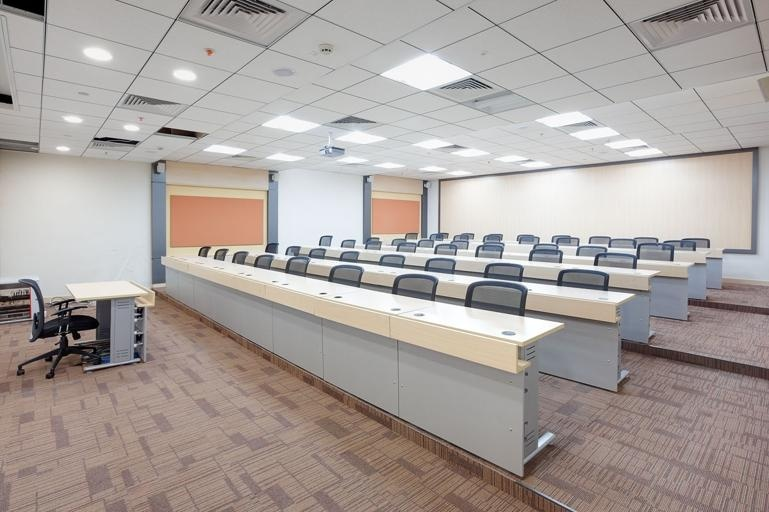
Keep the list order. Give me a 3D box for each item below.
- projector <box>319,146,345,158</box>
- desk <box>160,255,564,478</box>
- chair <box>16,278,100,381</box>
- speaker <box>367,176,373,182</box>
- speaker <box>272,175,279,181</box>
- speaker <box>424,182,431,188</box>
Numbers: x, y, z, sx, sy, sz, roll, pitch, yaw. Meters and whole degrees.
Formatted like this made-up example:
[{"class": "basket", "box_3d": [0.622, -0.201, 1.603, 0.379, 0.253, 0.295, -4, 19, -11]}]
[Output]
[{"class": "projector", "box_3d": [-0.971, -1.990, 7.867, 0.390, 0.119, 0.384, -2, -3, 41]}, {"class": "desk", "box_3d": [-0.437, 1.079, 4.815, 4.335, 1.521, 0.663, 2, 6, 39]}, {"class": "chair", "box_3d": [-4.297, 0.905, 5.530, 1.035, 1.033, 1.007, 0, 0, -9]}, {"class": "speaker", "box_3d": [-0.520, -2.619, 14.091, 0.183, 0.198, 0.186, 2, 3, 28]}, {"class": "speaker", "box_3d": [-3.292, -2.321, 12.250, 0.127, 0.176, 0.233, 3, 3, 45]}, {"class": "speaker", "box_3d": [1.620, -2.726, 15.949, 0.307, 0.186, 0.373, 11, -10, 4]}]
